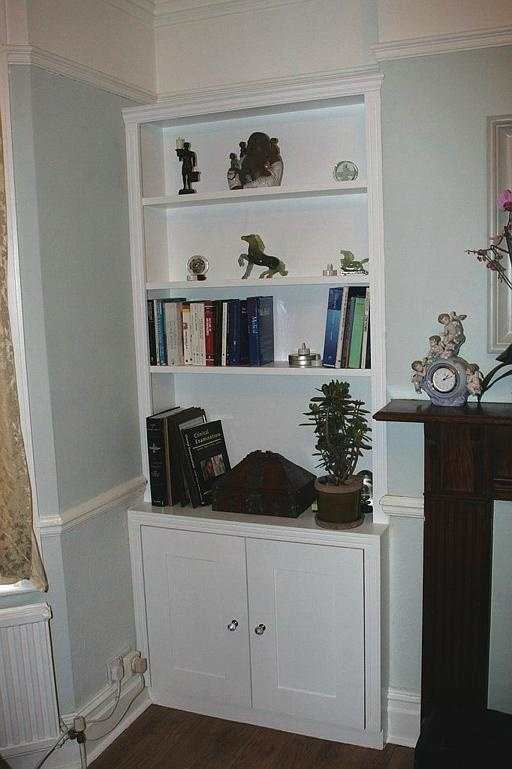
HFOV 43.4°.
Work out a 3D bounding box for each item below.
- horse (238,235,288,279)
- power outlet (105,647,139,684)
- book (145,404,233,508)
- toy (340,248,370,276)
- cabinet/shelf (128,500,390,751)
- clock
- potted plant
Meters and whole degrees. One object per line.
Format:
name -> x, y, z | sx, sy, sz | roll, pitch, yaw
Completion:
horse -> 0.005, -0.461, 2.338 | 0.160, 0.164, 0.300 | -5, 9, -21
power outlet -> -0.479, 0.995, 2.275 | 0.055, 0.116, 0.180 | 1, 4, 17
book -> -0.232, 0.231, 2.503 | 0.315, 0.468, 0.356 | -2, 6, 25
toy -> 0.335, -0.397, 2.164 | 0.103, 0.045, 0.101 | 2, -4, 37
cabinet/shelf -> 0.042, 0.814, 2.174 | 0.817, 0.699, 0.305 | 0, 1, 18
clock -> 0.547, -0.070, 1.842 | 0.189, 0.263, 0.135 | -1, 8, 2
potted plant -> 0.282, 0.207, 2.178 | 0.231, 0.471, 0.371 | -1, 8, 4
